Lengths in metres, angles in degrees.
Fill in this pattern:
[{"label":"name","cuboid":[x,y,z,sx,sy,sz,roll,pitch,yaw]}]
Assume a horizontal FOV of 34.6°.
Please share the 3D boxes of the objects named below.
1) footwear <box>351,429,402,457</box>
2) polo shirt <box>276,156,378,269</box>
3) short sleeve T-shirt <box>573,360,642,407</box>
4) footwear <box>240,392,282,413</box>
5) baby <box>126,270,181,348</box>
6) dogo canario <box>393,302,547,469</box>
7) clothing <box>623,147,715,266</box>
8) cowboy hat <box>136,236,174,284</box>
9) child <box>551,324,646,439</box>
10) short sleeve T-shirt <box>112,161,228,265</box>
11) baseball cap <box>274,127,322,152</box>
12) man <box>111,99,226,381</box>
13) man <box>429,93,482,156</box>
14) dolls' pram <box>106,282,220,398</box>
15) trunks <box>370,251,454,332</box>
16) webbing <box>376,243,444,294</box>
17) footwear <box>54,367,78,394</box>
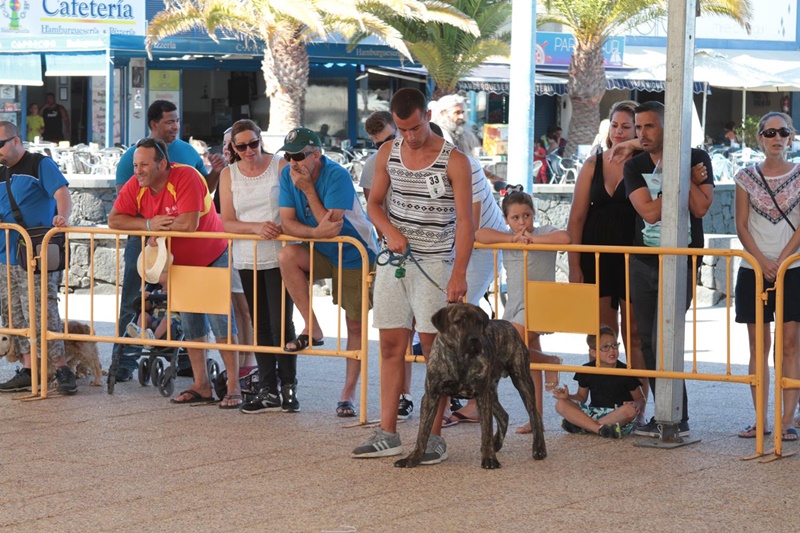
[{"label":"footwear","cuboid":[-0.185,1.667,12.086,0.558,0.265,0.205,0,1,-11]},{"label":"polo shirt","cuboid":[-0.778,-0.556,13.223,1.050,1.381,1.028,10,16,24]},{"label":"short sleeve T-shirt","cuboid":[2.135,1.179,12.777,0.775,0.558,0.388,-3,-19,-1]},{"label":"footwear","cuboid":[-1.416,1.406,13.195,0.487,0.206,0.170,1,9,-21]},{"label":"baby","cuboid":[-2.710,0.531,14.018,0.456,0.724,0.731,-1,-8,0]},{"label":"dogo canario","cuboid":[0.671,1.084,11.752,1.241,1.536,0.592,-2,4,-29]},{"label":"clothing","cuboid":[2.567,-0.557,12.543,0.837,1.214,0.614,4,-4,-15]},{"label":"cowboy hat","cuboid":[-2.573,-0.063,13.380,0.417,0.436,0.128,9,-2,39]},{"label":"child","cuboid":[2.005,1.149,12.631,0.849,1.085,0.786,0,5,43]},{"label":"short sleeve T-shirt","cuboid":[-2.494,-0.539,13.841,1.108,1.159,0.970,-2,19,15]},{"label":"baseball cap","cuboid":[-0.997,-1.236,12.606,0.338,0.188,0.231,-2,5,-38]},{"label":"man","cuboid":[-2.667,-0.437,14.568,1.150,2.808,1.073,2,25,-12]},{"label":"man","cuboid":[0.612,-1.617,14.506,0.446,0.706,0.441,-4,22,11]},{"label":"dolls' pram","cuboid":[-2.524,0.846,14.100,1.147,1.241,1.235,-3,22,-16]},{"label":"trunks","cuboid":[0.172,0.182,12.214,0.487,0.767,0.826,23,7,15]},{"label":"webbing","cuboid":[0.143,0.041,11.815,0.755,0.211,0.309,17,21,32]},{"label":"footwear","cuboid":[-3.583,1.234,13.743,0.152,0.172,0.389,-4,10,-17]}]
